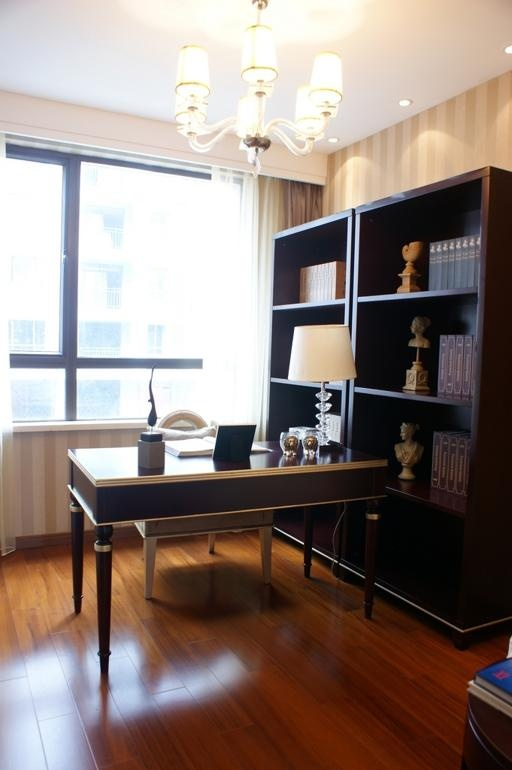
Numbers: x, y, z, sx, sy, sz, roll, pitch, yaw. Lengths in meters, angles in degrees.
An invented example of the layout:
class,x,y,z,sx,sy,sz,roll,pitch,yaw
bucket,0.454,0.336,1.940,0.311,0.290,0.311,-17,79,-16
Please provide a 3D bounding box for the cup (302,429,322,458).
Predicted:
class,x,y,z,sx,sy,sz,roll,pitch,yaw
cup,0.256,0.270,2.550,0.080,0.132,0.088,5,3,0

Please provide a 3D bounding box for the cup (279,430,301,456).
class,x,y,z,sx,sy,sz,roll,pitch,yaw
cup,0.149,0.264,2.484,0.082,0.107,0.089,1,-4,0

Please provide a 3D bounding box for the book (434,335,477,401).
class,x,y,z,sx,sy,sz,roll,pitch,yaw
book,0.814,-0.047,2.377,0.193,0.283,0.273,1,-3,10

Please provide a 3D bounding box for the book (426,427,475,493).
class,x,y,z,sx,sy,sz,roll,pitch,yaw
book,0.886,0.328,2.535,0.195,0.290,0.276,2,-4,22

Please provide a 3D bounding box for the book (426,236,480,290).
class,x,y,z,sx,sy,sz,roll,pitch,yaw
book,0.866,-0.530,2.414,0.073,0.226,0.390,1,0,-12

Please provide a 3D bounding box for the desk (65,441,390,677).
class,x,y,z,sx,sy,sz,roll,pitch,yaw
desk,-0.109,0.666,2.430,1.280,0.796,0.620,1,7,-28

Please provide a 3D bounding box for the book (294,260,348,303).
class,x,y,z,sx,sy,sz,roll,pitch,yaw
book,0.400,-0.627,3.412,0.115,0.318,0.338,2,9,-29

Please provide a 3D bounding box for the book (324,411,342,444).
class,x,y,z,sx,sy,sz,roll,pitch,yaw
book,0.405,0.232,2.957,0.050,0.163,0.163,1,1,-9
